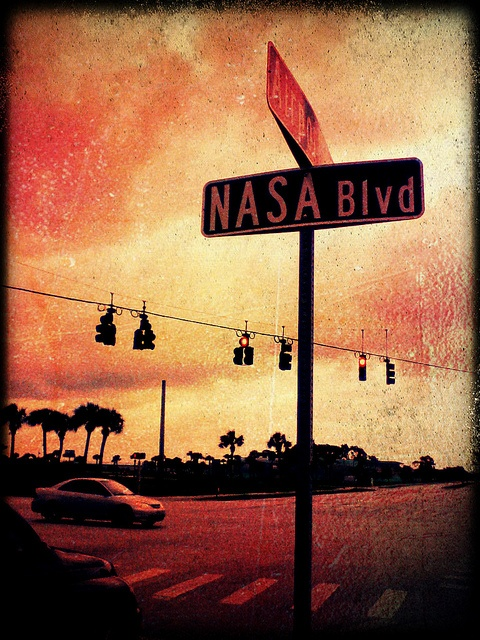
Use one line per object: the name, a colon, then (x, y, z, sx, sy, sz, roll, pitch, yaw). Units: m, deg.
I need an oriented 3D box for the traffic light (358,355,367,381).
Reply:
traffic light: (4.274, 1.655, 23.473, 0.205, 0.939, 0.790, 0, -7, 15)

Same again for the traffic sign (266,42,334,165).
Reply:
traffic sign: (0.420, -1.529, 5.066, 0.125, 0.618, 1.042, -1, -8, 25)

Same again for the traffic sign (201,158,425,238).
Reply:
traffic sign: (0.491, -0.904, 4.979, 1.636, 0.029, 0.719, -4, -29, 9)
